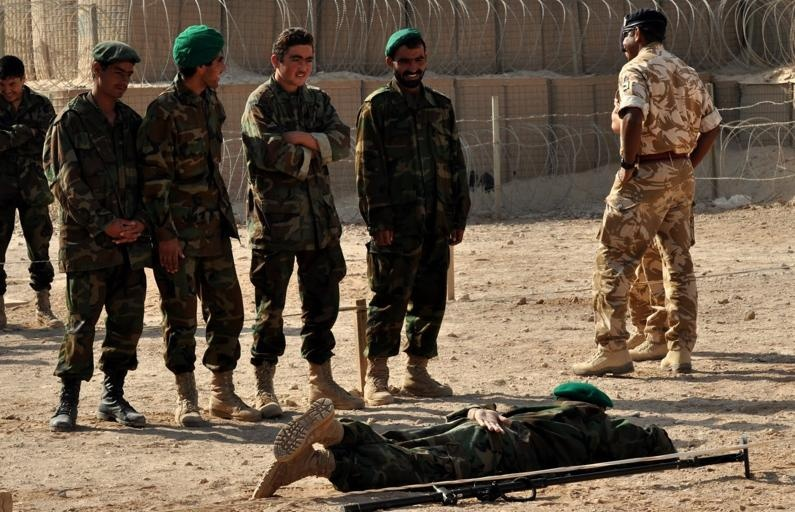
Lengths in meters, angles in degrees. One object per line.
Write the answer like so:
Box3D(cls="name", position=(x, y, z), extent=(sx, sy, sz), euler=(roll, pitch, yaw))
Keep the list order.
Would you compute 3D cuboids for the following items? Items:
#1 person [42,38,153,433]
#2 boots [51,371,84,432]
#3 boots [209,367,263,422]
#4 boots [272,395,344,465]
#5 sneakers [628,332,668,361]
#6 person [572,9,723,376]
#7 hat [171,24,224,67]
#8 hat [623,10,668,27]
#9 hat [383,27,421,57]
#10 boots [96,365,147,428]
Box3D(cls="person", position=(-2.501, -0.163, 10.395), extent=(0.861, 3.181, 0.367), euler=(-3, 4, -14))
Box3D(cls="boots", position=(-2.786, 1.221, 10.478), extent=(0.233, 0.384, 0.605), euler=(6, 13, -4))
Box3D(cls="boots", position=(-1.368, 1.187, 10.704), extent=(0.582, 0.388, 0.204), euler=(3, 6, 33))
Box3D(cls="boots", position=(-0.612, 1.281, 9.308), extent=(0.683, 0.275, 0.286), euler=(-29, -5, -3))
Box3D(cls="sneakers", position=(2.296, 0.878, 11.904), extent=(0.494, 0.170, 0.151), euler=(2, 2, 9))
Box3D(cls="person", position=(2.252, -0.558, 11.337), extent=(1.188, 3.243, 0.504), euler=(-4, 4, -25))
Box3D(cls="hat", position=(-1.645, -1.728, 10.350), extent=(0.449, 0.316, 0.274), euler=(0, -41, 5))
Box3D(cls="hat", position=(2.182, -2.114, 11.255), extent=(0.237, 0.080, 0.254), euler=(-9, 11, -39))
Box3D(cls="hat", position=(0.023, -1.842, 10.926), extent=(0.265, 0.249, 0.338), euler=(-3, 4, -22))
Box3D(cls="boots", position=(-2.310, 1.199, 10.578), extent=(0.529, 0.414, 0.209), euler=(7, 0, 35))
